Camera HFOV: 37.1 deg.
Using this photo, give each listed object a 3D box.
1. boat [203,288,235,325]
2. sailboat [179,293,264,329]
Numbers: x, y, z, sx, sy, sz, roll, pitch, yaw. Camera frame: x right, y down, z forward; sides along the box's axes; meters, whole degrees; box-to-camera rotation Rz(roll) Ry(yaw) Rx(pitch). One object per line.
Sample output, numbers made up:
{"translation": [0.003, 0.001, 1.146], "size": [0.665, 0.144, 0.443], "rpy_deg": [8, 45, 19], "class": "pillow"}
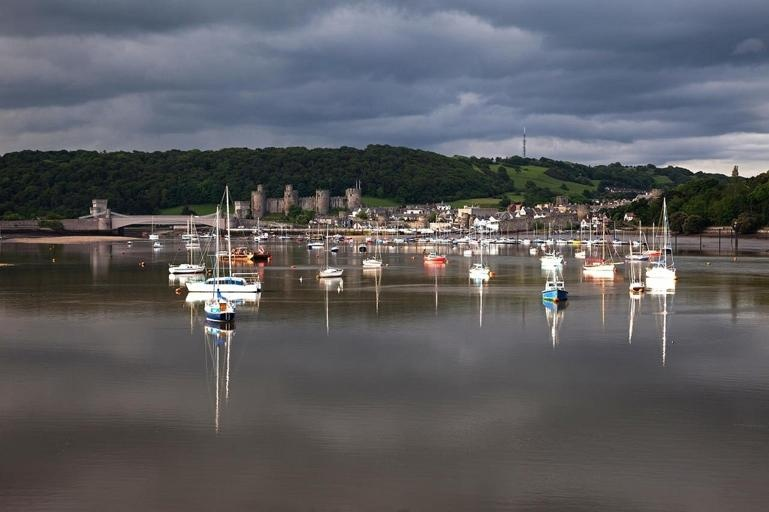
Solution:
{"translation": [-8.890, 2.790, 61.569], "size": [1.522, 1.602, 4.129], "rpy_deg": [1, -4, -10], "class": "boat"}
{"translation": [-8.782, 3.054, 61.874], "size": [1.243, 0.916, 2.410], "rpy_deg": [9, 21, 5], "class": "sailboat"}
